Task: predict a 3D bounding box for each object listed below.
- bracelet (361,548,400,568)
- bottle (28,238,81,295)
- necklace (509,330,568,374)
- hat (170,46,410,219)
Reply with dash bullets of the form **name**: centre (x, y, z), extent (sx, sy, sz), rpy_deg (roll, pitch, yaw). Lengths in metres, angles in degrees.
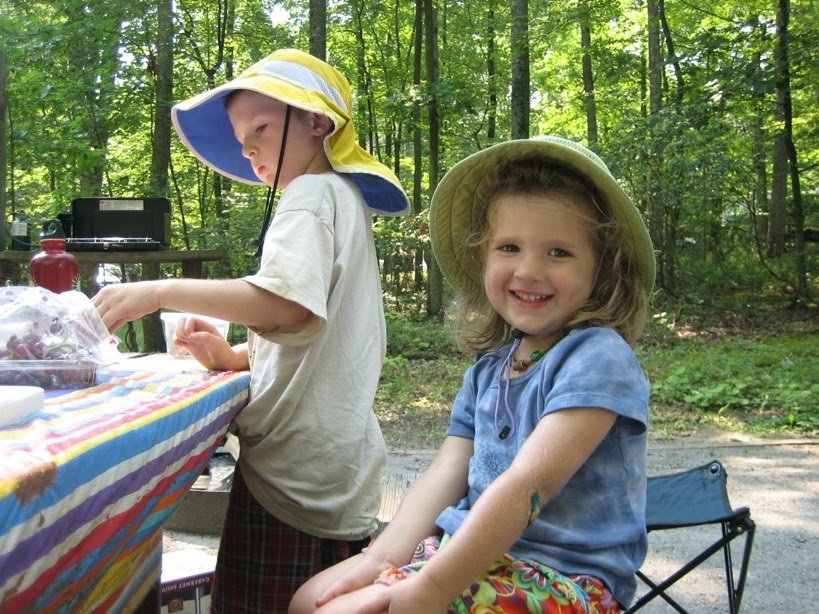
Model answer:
- **bracelet**: centre (-0.099, 0.842, 3.109), extent (0.078, 0.068, 0.060), rpy_deg (-22, -18, -2)
- **bottle**: centre (-1.408, -0.166, 3.616), extent (0.186, 0.202, 0.280), rpy_deg (-4, 8, -8)
- **necklace**: centre (0.444, 0.149, 3.227), extent (0.052, 0.171, 0.136), rpy_deg (43, -1, -26)
- **hat**: centre (-0.446, -0.751, 3.730), extent (0.779, 0.480, 0.916), rpy_deg (4, -16, 45)
